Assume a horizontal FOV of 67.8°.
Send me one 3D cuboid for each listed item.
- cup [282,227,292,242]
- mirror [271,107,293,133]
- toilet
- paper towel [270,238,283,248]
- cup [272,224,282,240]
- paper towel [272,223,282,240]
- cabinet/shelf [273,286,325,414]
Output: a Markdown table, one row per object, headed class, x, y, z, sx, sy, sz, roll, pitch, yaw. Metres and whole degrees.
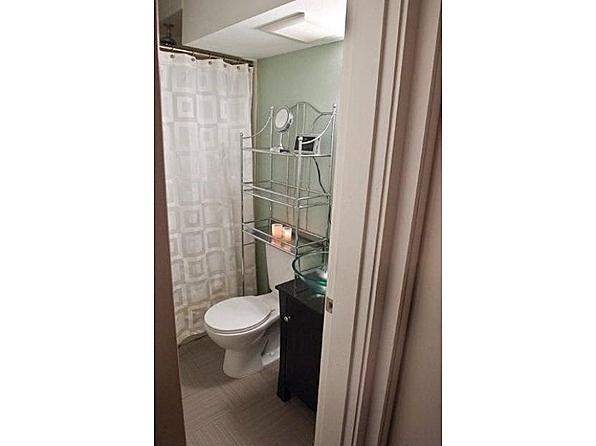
| class | x | y | z | sx | sy | sz | roll | pitch | yaw |
| --- | --- | --- | --- | --- | --- | --- | --- | --- | --- |
| cup | -0.054 | 0.057 | 2.291 | 0.063 | 0.075 | 0.064 | 6 | 5 | -1 |
| mirror | -0.064 | -0.503 | 2.163 | 0.094 | 0.120 | 0.172 | 1 | 12 | -1 |
| toilet | -0.197 | 0.468 | 2.291 | 0.573 | 0.578 | 0.259 | -13 | 26 | -34 |
| paper towel | -0.109 | 0.101 | 2.292 | 0.050 | 0.013 | 0.047 | -19 | 42 | -38 |
| cup | -0.127 | 0.049 | 2.370 | 0.068 | 0.080 | 0.070 | 2 | 1 | 0 |
| paper towel | -0.125 | 0.049 | 2.360 | 0.068 | 0.081 | 0.070 | 2 | 1 | -32 |
| cabinet/shelf | 0.023 | 0.526 | 1.793 | 0.111 | 0.572 | 0.356 | -5 | 13 | -24 |
